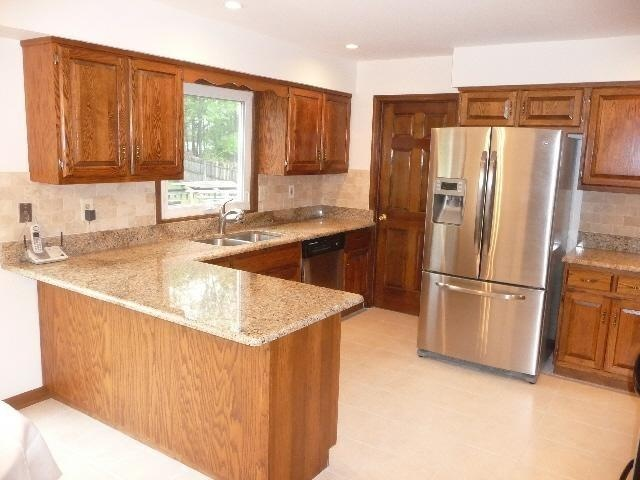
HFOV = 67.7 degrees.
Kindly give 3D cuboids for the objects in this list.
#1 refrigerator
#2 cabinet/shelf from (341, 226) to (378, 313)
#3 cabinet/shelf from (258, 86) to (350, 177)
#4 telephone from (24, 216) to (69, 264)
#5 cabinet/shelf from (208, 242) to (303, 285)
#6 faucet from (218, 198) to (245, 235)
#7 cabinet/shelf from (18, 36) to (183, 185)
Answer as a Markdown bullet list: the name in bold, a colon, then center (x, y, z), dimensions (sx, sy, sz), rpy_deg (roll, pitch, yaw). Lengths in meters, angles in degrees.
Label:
- **refrigerator**: center (1.430, 0.108, 4.102), dimensions (1.153, 2.099, 0.323), rpy_deg (12, 18, 30)
- **cabinet/shelf**: center (0.463, 0.359, 5.479), dimensions (0.202, 0.988, 0.690), rpy_deg (10, 16, 24)
- **cabinet/shelf**: center (-0.152, -1.193, 5.291), dimensions (0.485, 0.954, 1.243), rpy_deg (11, 16, 33)
- **telephone**: center (-1.897, 0.027, 3.314), dimensions (0.257, 0.219, 0.200), rpy_deg (-2, 27, -36)
- **cabinet/shelf**: center (-0.456, 0.178, 4.228), dimensions (0.383, 0.444, 0.733), rpy_deg (8, 14, 31)
- **faucet**: center (-0.867, -0.234, 4.624), dimensions (0.225, 0.306, 0.524), rpy_deg (0, 14, -12)
- **cabinet/shelf**: center (-1.570, -0.907, 3.601), dimensions (0.412, 0.912, 1.116), rpy_deg (11, 15, 25)
